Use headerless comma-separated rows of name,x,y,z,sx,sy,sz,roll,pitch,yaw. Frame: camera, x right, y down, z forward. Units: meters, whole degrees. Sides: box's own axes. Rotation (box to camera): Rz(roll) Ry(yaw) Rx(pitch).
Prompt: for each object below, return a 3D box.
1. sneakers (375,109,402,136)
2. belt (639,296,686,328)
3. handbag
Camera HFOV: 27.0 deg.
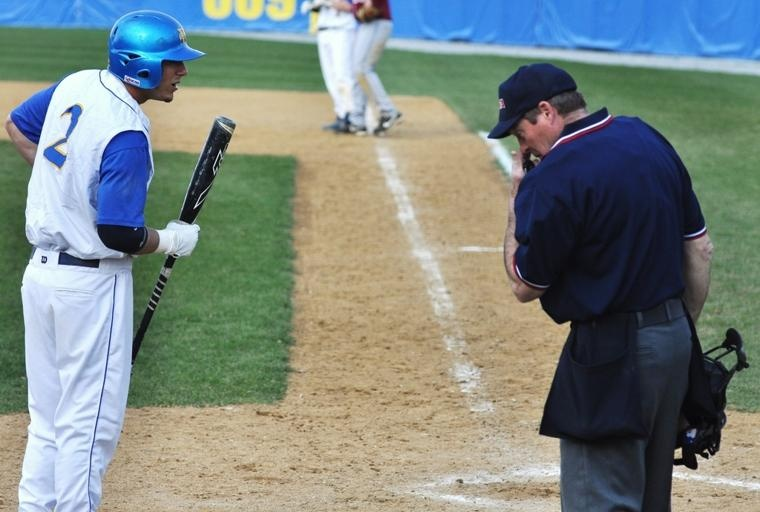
sneakers,0.068,-1.296,15.388,0.125,0.124,0.380,26,34,29
belt,2.347,0.488,13.125,0.339,0.151,0.229,-26,3,2
handbag,1.873,1.136,13.393,1.065,1.159,0.751,-5,-30,18
